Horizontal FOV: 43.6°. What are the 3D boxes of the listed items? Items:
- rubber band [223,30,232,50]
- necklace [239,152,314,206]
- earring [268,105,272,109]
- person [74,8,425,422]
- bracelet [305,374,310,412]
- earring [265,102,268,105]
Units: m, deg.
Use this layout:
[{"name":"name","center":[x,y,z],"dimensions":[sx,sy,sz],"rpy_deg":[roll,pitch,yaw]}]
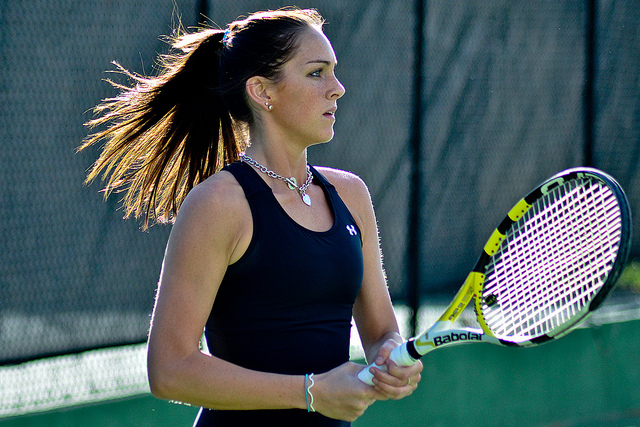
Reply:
[{"name":"rubber band","center":[-0.382,-0.703,3.228],"dimensions":[0.014,0.066,0.061],"rpy_deg":[6,-15,-16]},{"name":"necklace","center":[-0.148,-0.140,3.206],"dimensions":[0.199,0.256,0.015],"rpy_deg":[-46,-2,0]},{"name":"earring","center":[-0.197,-0.421,3.150],"dimensions":[0.016,0.015,0.004],"rpy_deg":[-5,-5,3]},{"name":"person","center":[-0.236,0.011,3.185],"dimensions":[1.160,1.612,0.534],"rpy_deg":[-5,-5,5]},{"name":"bracelet","center":[-0.049,0.671,2.993],"dimensions":[0.013,0.129,0.027],"rpy_deg":[-4,-5,2]},{"name":"earring","center":[-0.212,-0.433,3.149],"dimensions":[0.010,0.006,0.002],"rpy_deg":[-6,-5,12]}]
